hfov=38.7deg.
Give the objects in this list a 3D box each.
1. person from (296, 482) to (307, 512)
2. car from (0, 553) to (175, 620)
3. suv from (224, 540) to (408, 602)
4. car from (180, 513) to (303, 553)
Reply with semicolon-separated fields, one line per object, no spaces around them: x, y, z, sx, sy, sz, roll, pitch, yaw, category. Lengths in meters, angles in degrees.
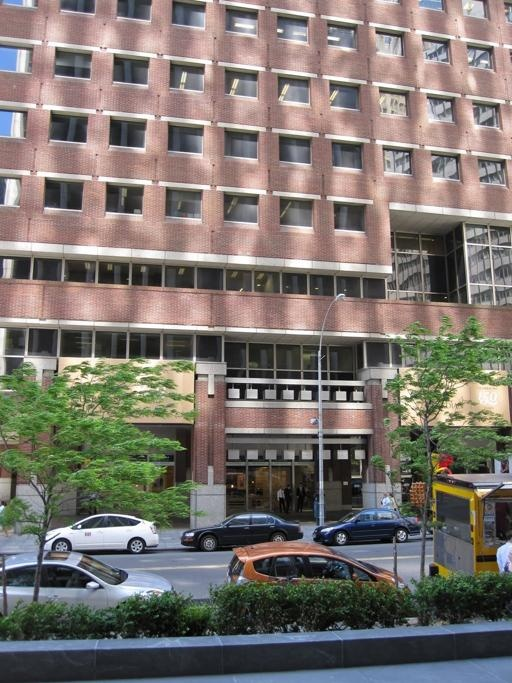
2.272;7.982;37.117;0.468;1.382;1.260;-1;-10;5;person
-3.240;4.306;12.938;2.135;0.862;2.693;-6;-11;34;car
1.018;3.997;13.034;3.362;0.938;1.287;-2;-8;-7;suv
-0.543;6.466;24.884;4.059;1.087;1.492;3;-12;-7;car
